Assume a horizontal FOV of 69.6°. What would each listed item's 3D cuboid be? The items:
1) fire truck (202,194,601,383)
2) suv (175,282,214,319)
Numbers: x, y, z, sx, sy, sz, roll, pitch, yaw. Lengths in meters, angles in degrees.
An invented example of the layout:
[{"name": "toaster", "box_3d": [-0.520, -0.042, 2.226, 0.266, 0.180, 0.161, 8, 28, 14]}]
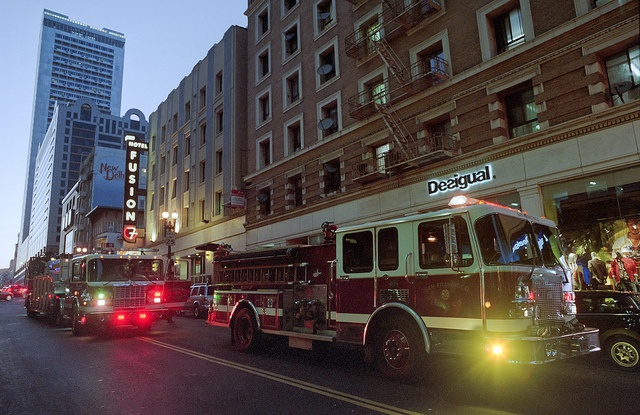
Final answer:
[{"name": "fire truck", "box_3d": [3.300, 2.650, 14.632, 11.610, 4.518, 4.920, -9, -12, 43]}, {"name": "suv", "box_3d": [-7.625, 6.370, 30.222, 2.042, 2.267, 4.860, 26, -22, -30]}]
